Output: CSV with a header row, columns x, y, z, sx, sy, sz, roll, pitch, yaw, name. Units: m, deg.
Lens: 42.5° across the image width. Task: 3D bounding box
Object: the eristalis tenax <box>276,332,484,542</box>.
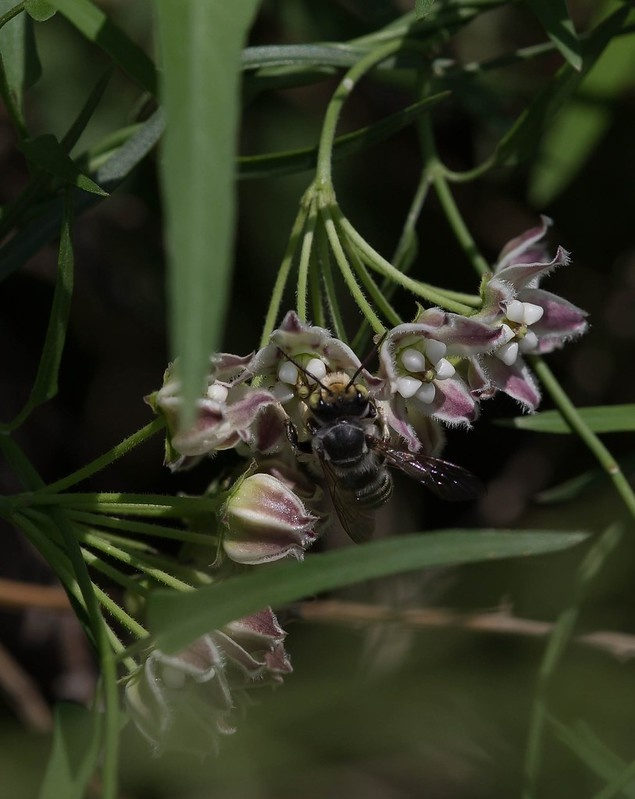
x,y,z,sx,sy,sz,roll,pitch,yaw,name
0.093,0.089,1.593,0.340,0.412,0.134,-33,29,14,eristalis tenax
